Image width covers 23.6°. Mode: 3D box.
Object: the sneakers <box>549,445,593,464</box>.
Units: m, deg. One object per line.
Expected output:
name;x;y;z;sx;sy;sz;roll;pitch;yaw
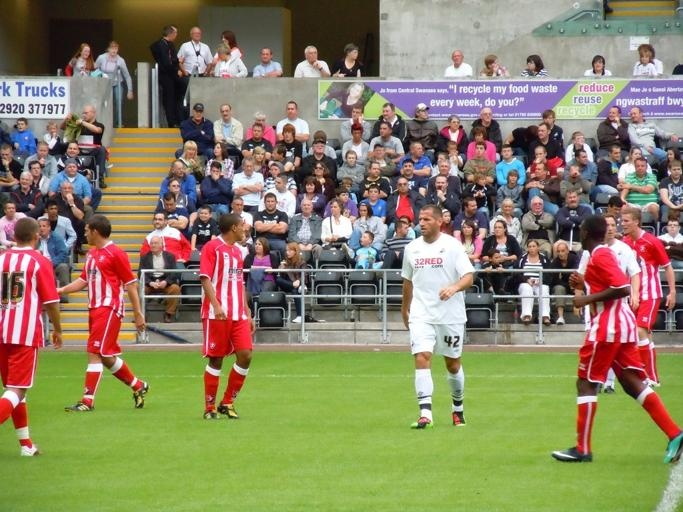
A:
sneakers;3.442;2.963;24.221;0.601;0.255;0.227;6;-5;4

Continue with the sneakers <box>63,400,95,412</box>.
sneakers;-4.263;2.460;26.622;0.465;0.211;0.173;3;0;-7

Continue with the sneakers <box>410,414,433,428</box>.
sneakers;1.272;2.617;25.509;0.329;0.155;0.153;5;-7;-36

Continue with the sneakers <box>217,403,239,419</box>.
sneakers;-1.785;2.502;26.132;0.409;0.217;0.153;14;15;6

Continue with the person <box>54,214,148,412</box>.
person;-3.815;0.934;26.666;1.232;3.208;0.536;0;2;-8

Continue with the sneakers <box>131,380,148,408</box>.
sneakers;-3.298;2.283;26.919;0.239;0.494;0.172;9;-9;-29

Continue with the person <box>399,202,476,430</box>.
person;1.517;0.954;25.598;1.087;3.492;0.587;0;2;3

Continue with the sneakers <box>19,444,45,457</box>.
sneakers;-4.640;2.931;24.425;0.128;0.159;0.358;2;5;10
